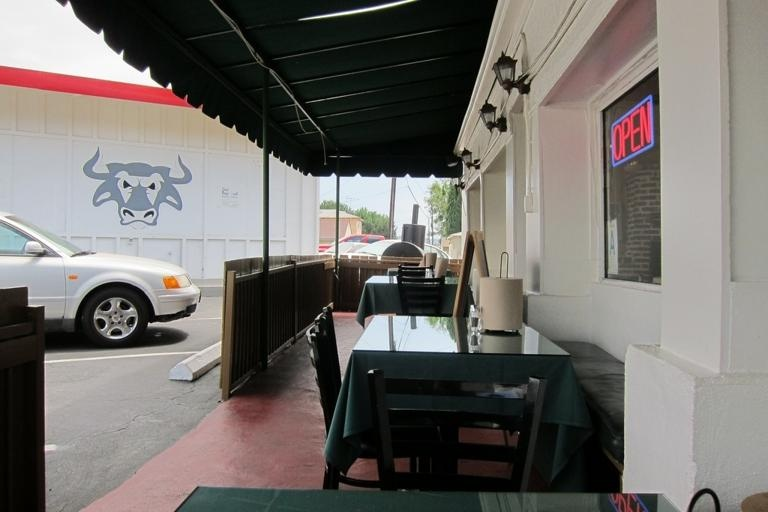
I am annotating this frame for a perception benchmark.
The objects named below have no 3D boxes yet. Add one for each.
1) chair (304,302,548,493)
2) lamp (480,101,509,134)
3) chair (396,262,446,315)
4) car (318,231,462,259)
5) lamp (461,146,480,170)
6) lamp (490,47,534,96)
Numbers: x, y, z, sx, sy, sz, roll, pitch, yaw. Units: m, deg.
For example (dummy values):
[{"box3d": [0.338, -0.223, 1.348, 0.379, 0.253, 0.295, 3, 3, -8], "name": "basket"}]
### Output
[{"box3d": [0.188, 0.641, 2.858, 0.964, 1.200, 1.191, 0, 7, 1], "name": "chair"}, {"box3d": [1.237, -1.593, 5.937, 0.281, 0.341, 0.432, 0, 7, -2], "name": "lamp"}, {"box3d": [0.422, 0.423, 6.093, 0.341, 0.404, 0.658, 0, 6, 3], "name": "chair"}, {"box3d": [-0.104, -0.424, 19.168, 3.509, 1.271, 1.695, -3, 2, 0], "name": "car"}, {"box3d": [1.363, -1.529, 8.144, 0.258, 0.358, 1.070, 1, 7, 7], "name": "lamp"}, {"box3d": [1.199, -1.712, 4.854, 0.283, 0.459, 0.161, -5, -13, 14], "name": "lamp"}]
